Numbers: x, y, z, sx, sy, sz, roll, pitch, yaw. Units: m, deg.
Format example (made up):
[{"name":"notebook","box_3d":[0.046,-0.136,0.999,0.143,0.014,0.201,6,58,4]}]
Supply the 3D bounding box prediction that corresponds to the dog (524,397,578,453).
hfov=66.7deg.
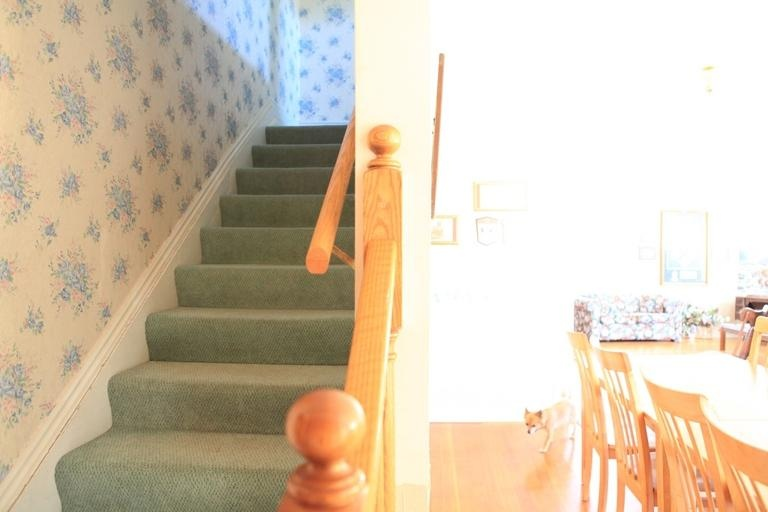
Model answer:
[{"name":"dog","box_3d":[1.328,1.304,4.571,0.651,0.340,0.151,-9,12,-35]}]

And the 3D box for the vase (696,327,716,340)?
[{"name":"vase","box_3d":[4.836,1.159,8.796,0.216,0.139,0.217,1,2,13]}]

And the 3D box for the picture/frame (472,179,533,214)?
[{"name":"picture/frame","box_3d":[1.428,-0.701,6.914,0.732,0.424,0.167,-1,-1,11]}]

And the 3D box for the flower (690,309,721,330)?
[{"name":"flower","box_3d":[4.757,0.925,8.729,0.363,0.214,0.363,-2,5,-18]}]

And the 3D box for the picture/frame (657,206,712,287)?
[{"name":"picture/frame","box_3d":[4.748,-0.147,9.282,0.924,1.203,0.115,-4,8,-16]}]
